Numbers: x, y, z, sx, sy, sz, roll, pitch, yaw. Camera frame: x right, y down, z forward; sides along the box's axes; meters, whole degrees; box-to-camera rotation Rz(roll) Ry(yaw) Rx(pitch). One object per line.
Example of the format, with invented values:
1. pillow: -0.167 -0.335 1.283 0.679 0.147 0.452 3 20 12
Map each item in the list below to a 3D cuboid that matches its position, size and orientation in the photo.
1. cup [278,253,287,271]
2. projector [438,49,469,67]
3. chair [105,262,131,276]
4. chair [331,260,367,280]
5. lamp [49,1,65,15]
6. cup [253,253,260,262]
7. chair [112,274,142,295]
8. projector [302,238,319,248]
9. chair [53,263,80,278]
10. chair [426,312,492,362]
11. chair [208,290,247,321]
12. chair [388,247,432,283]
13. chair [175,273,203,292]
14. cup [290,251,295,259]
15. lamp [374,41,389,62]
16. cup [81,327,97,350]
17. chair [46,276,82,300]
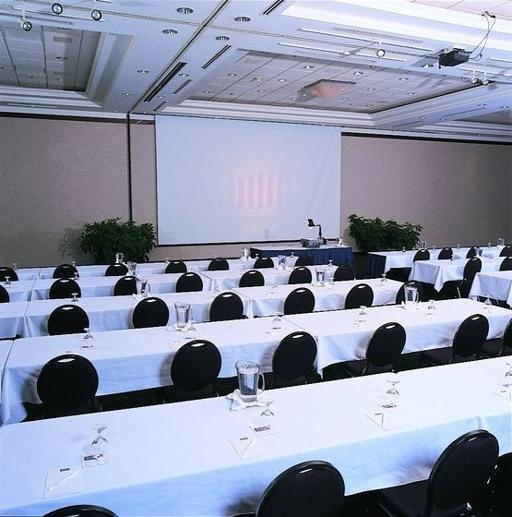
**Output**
1. cup: 0.464 0.062 6.950 0.199 0.292 0.195 2 2 0
2. projector: 2.523 -2.561 5.409 0.335 0.142 0.241 3 8 18
3. chair: -2.142 0.175 6.506 0.265 0.164 0.258 -2 5 -1
4. chair: 1.778 0.226 8.139 0.388 0.512 0.363 -4 18 -16
5. lamp: -1.913 -2.433 4.089 0.152 0.133 0.047 2 4 -9
6. cup: 0.012 -0.038 8.394 0.131 0.123 0.122 0 2 0
7. chair: -1.670 0.329 5.477 0.358 0.287 0.257 0 1 -41
8. projector: 1.201 -0.341 9.505 0.267 0.110 0.248 0 12 -3
9. chair: -2.807 0.195 6.256 0.272 0.127 0.265 -4 9 -41
10. chair: 1.827 0.720 3.848 0.399 0.617 0.379 -5 18 -15
11. chair: -0.337 0.496 4.766 0.340 0.474 0.337 -1 9 -20
12. chair: 3.039 0.151 8.408 0.593 0.820 0.523 -5 26 -25
13. chair: -0.933 0.319 5.888 0.290 0.366 0.311 2 8 -18
14. cup: 0.732 -0.078 8.314 0.126 0.111 0.118 -1 -1 0
15. lamp: 1.645 -2.718 5.564 0.147 0.200 0.361 4 48 0
16. cup: -1.320 0.618 3.343 0.161 0.157 0.153 0 3 0
17. chair: -2.331 0.374 5.158 0.382 0.289 0.355 2 -1 -9
